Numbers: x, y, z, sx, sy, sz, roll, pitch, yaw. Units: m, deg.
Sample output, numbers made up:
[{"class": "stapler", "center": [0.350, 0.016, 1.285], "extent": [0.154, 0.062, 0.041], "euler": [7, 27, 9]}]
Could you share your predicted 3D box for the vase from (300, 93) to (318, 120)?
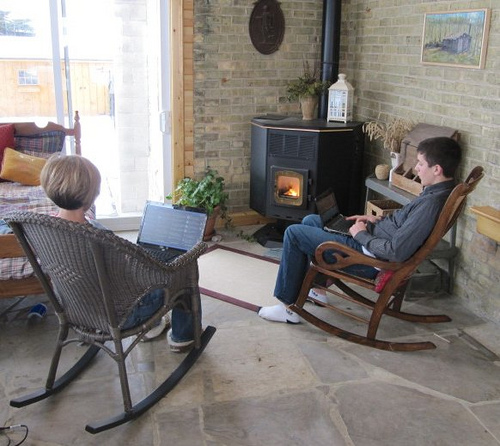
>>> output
[{"class": "vase", "center": [0.546, -1.076, 3.855], "extent": [0.195, 0.234, 0.111], "euler": [0, 19, -10]}]

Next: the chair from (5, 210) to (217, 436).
[{"class": "chair", "center": [-0.616, 0.341, 1.886], "extent": [0.636, 0.923, 0.761], "euler": [9, 18, 18]}]

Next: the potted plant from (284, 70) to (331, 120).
[{"class": "potted plant", "center": [0.584, -1.195, 3.942], "extent": [0.495, 0.390, 0.376], "euler": [5, 11, 21]}]

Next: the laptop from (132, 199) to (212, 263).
[{"class": "laptop", "center": [-0.385, 0.039, 2.303], "extent": [0.475, 0.292, 0.259], "euler": [11, 10, 7]}]

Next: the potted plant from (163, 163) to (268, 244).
[{"class": "potted plant", "center": [-0.356, -0.164, 4.073], "extent": [0.543, 0.497, 0.960], "euler": [-6, -7, 41]}]

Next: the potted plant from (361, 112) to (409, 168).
[{"class": "potted plant", "center": [1.141, -0.680, 3.455], "extent": [0.433, 0.373, 0.284], "euler": [-15, 32, -21]}]
